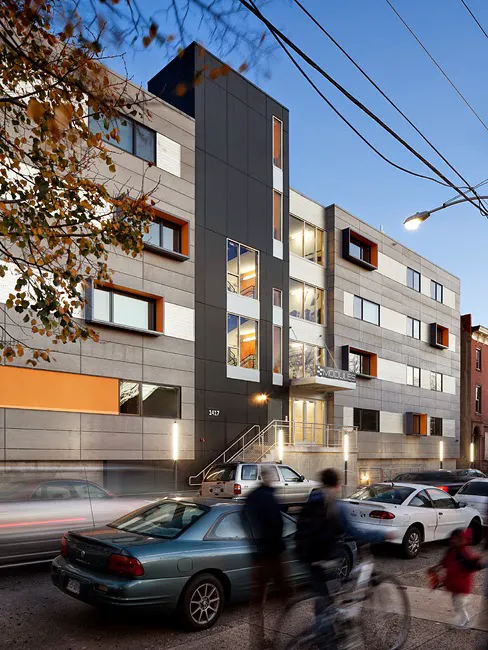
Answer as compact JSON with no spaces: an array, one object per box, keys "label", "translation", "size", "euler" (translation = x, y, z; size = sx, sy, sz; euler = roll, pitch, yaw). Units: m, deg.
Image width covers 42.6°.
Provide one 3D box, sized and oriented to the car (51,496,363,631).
[{"label":"car","translation":[-0.366,2.379,6.987],"size":[3.011,0.945,1.341],"euler":[2,-5,-41]}]
